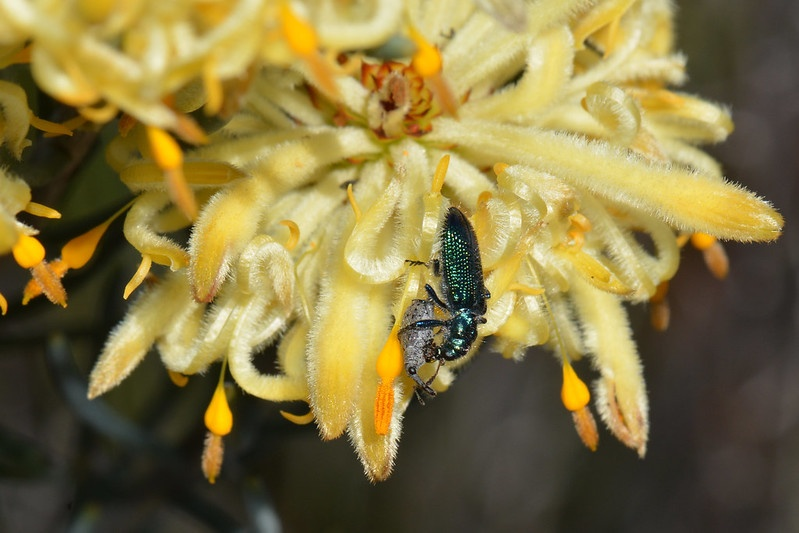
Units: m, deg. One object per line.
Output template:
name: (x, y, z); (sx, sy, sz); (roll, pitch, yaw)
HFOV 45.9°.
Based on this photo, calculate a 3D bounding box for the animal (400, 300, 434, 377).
animal: (0.018, 0.100, 1.390); (0.049, 0.112, 0.035); (9, 6, -30)
